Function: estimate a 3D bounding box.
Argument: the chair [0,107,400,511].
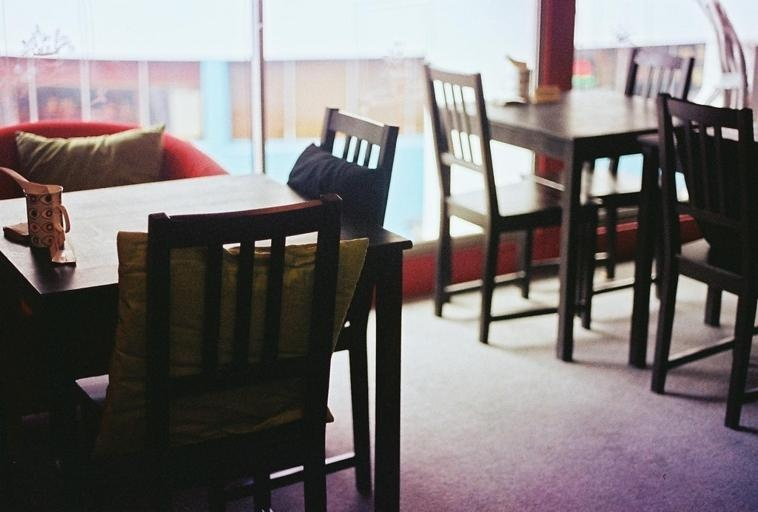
[{"bbox_3d":[-0.646,0.193,2.687,1.451,1.304,1.429,-6,15,-23],"label":"chair"}]

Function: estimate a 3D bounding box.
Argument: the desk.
[{"bbox_3d":[-0.621,0.330,2.453,1.246,1.107,1.009,-5,14,-25],"label":"desk"}]

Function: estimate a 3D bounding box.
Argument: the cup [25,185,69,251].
[{"bbox_3d":[-1.019,-0.117,2.085,0.106,0.204,0.111,1,13,0],"label":"cup"}]
